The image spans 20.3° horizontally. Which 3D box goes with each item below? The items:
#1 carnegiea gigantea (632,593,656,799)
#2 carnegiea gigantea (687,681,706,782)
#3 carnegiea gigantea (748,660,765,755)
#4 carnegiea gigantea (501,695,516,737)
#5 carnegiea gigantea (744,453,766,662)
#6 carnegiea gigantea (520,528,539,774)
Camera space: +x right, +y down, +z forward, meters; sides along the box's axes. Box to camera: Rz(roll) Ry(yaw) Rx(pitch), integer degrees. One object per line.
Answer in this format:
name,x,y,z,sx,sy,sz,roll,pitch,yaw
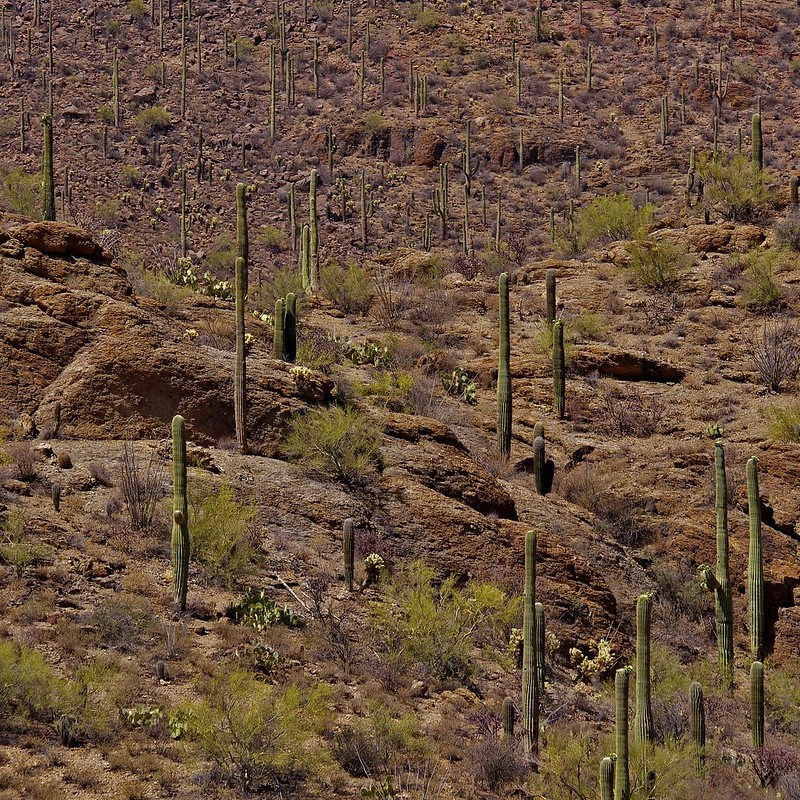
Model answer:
carnegiea gigantea,4.591,5.404,41.222,0.369,3.333,0.846,1,11,5
carnegiea gigantea,5.651,6.138,42.025,0.314,1.691,0.812,2,12,8
carnegiea gigantea,7.001,5.855,43.313,0.327,2.009,1.517,2,13,9
carnegiea gigantea,2.077,5.933,41.789,0.226,0.791,0.667,1,13,3
carnegiea gigantea,7.328,3.335,45.655,0.446,4.164,0.764,2,11,10
carnegiea gigantea,2.474,4.831,41.963,0.295,4.172,0.344,0,-3,7
